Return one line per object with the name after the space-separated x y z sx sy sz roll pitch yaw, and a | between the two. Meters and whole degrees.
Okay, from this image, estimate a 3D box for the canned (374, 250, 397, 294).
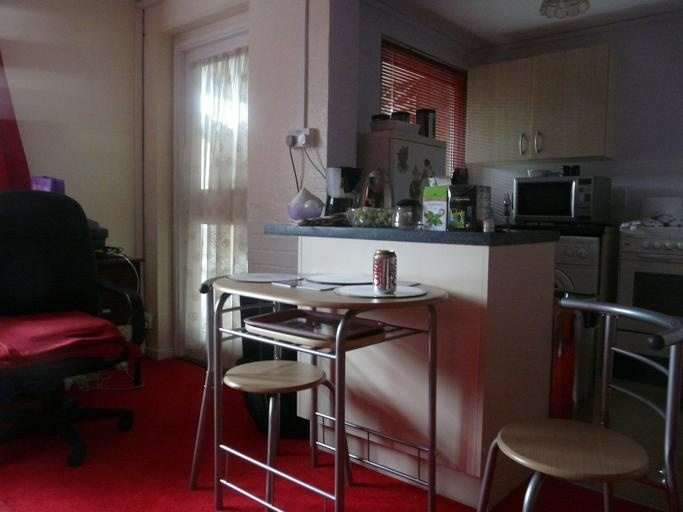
0.176 0.063 2.225 0.086 0.167 0.120 -1 8 -4 | canned

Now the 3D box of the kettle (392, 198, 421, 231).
0.325 -0.217 2.778 0.151 0.158 0.118 3 -1 -45 | kettle

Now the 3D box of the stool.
-0.290 0.734 2.641 0.604 0.690 0.664 9 10 43 | stool

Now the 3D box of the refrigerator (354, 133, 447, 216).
0.345 -0.518 3.444 0.207 0.614 0.628 5 8 42 | refrigerator

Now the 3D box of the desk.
-0.022 0.654 2.537 0.615 1.039 0.992 -2 4 -43 | desk
